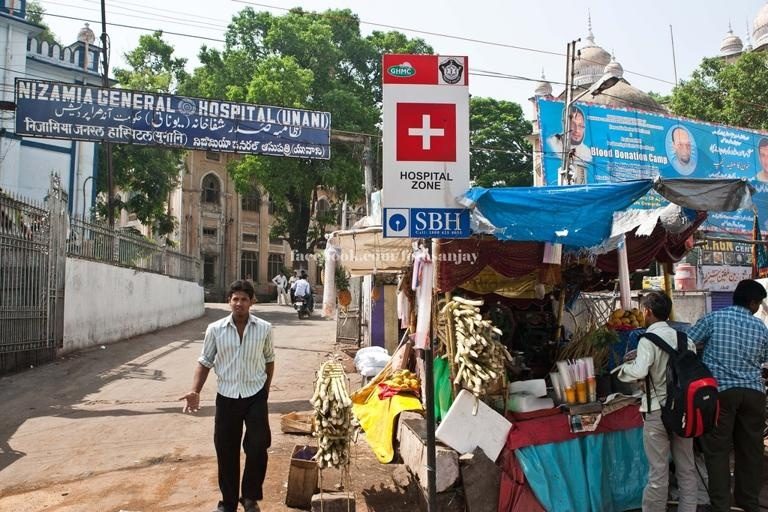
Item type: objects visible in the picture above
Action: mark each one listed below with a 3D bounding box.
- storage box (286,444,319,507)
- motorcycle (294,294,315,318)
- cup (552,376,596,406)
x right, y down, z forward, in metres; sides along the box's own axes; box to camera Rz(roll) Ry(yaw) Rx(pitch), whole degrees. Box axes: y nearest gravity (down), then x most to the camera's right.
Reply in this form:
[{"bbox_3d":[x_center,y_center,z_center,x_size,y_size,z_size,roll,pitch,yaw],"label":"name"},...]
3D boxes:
[{"bbox_3d":[-1.246,3.177,9.726,0.570,0.763,1.003,3,0,-3],"label":"storage box"},{"bbox_3d":[-3.082,1.955,26.042,0.731,0.863,0.820,0,1,-23],"label":"motorcycle"},{"bbox_3d":[2.759,1.937,9.635,0.478,0.471,0.373,0,-3,-6],"label":"cup"}]
